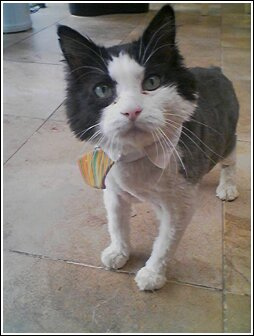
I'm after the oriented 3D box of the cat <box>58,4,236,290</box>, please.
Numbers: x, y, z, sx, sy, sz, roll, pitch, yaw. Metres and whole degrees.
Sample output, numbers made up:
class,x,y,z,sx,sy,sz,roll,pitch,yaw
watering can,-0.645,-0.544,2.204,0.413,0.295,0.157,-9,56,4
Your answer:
class,x,y,z,sx,sy,sz,roll,pitch,yaw
cat,0.103,-0.026,1.137,0.567,0.912,0.385,-22,30,-38
